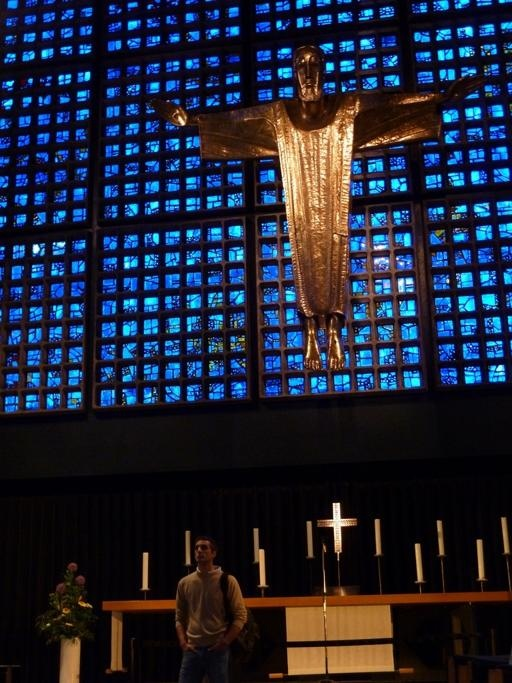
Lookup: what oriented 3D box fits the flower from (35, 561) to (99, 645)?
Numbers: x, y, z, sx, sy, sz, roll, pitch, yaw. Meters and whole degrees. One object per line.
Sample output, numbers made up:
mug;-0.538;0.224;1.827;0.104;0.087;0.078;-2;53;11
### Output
flower;-1.342;1.866;7.114;0.397;0.548;0.586;4;-21;-11
